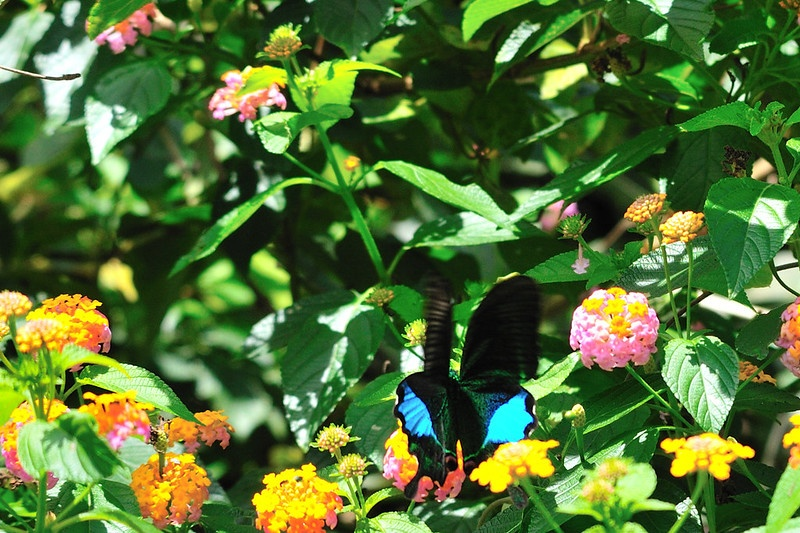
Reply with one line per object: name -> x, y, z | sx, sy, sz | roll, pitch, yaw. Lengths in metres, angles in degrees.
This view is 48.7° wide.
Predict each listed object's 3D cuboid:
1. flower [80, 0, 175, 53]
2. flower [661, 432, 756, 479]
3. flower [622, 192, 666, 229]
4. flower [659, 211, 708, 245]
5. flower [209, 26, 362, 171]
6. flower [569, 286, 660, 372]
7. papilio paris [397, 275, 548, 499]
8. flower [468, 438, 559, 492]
flower -> -0.820, -0.737, 2.711 | 0.189, 0.073, 0.182 | -49, 15, -23
flower -> 0.710, 0.418, 2.014 | 0.140, 0.044, 0.137 | -17, 36, -42
flower -> 0.655, -0.149, 2.347 | 0.093, 0.098, 0.122 | 2, 20, 21
flower -> 0.726, -0.086, 2.268 | 0.091, 0.050, 0.097 | 5, 47, 49
flower -> -0.285, -0.484, 2.470 | 0.348, 0.287, 0.373 | -13, 40, 33
flower -> 0.535, 0.137, 2.252 | 0.184, 0.100, 0.201 | 0, 2, 34
papilio paris -> 0.170, 0.277, 2.172 | 0.360, 0.500, 0.103 | -1, 18, 13
flower -> 0.260, 0.435, 2.017 | 0.142, 0.051, 0.141 | -19, 1, -27
